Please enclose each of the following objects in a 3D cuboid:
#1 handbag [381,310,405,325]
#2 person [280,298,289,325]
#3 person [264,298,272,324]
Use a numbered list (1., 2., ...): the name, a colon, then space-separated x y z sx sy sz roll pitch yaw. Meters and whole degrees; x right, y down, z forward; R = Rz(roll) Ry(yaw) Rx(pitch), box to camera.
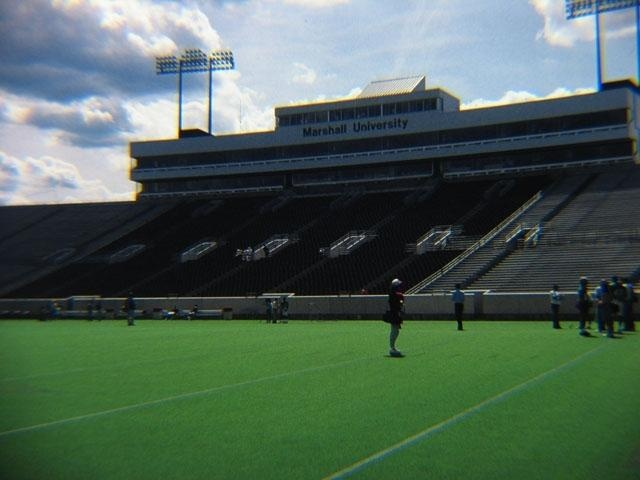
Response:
1. handbag: 1.766 1.895 15.256 0.473 0.302 0.345 0 -1 16
2. person: -1.931 3.772 33.702 0.433 0.985 1.433 0 1 -5
3. person: -2.751 3.752 33.621 0.373 0.933 1.135 0 1 -3
